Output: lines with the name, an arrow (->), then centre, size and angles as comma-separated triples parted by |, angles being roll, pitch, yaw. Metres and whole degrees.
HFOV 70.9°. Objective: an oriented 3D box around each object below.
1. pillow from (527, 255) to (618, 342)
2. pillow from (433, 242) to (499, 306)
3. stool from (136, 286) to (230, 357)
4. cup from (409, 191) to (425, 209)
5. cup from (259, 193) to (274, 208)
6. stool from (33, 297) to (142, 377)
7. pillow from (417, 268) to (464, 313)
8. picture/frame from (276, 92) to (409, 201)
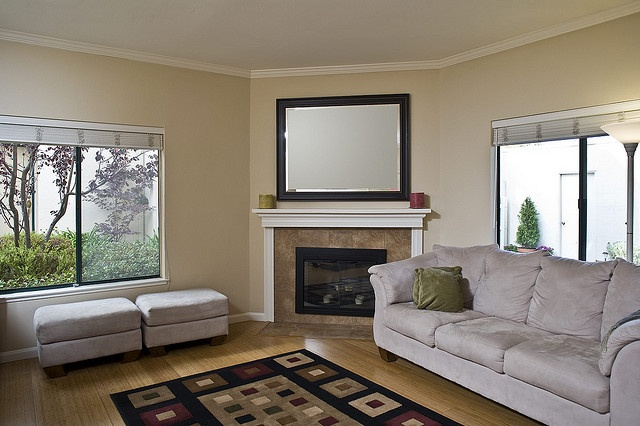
pillow -> 2.487, 0.870, 4.410 | 0.691, 0.766, 0.313 | 6, -19, 47
pillow -> 1.683, 0.732, 5.153 | 0.689, 0.684, 0.272 | 2, -30, 19
stool -> -1.802, 1.355, 5.753 | 1.130, 0.625, 0.828 | 2, 4, -38
cup -> 1.317, -0.161, 6.217 | 0.215, 0.281, 0.206 | 0, 3, 0
cup -> -0.759, -0.160, 6.318 | 0.204, 0.141, 0.199 | 0, 2, 0
stool -> -2.750, 1.409, 5.288 | 1.128, 0.655, 0.807 | 0, 7, -43
pillow -> 1.367, 0.807, 5.094 | 0.552, 0.515, 0.151 | 6, -30, 13
picture/frame -> 0.398, -0.939, 6.257 | 1.676, 1.182, 0.132 | 0, 0, 10
